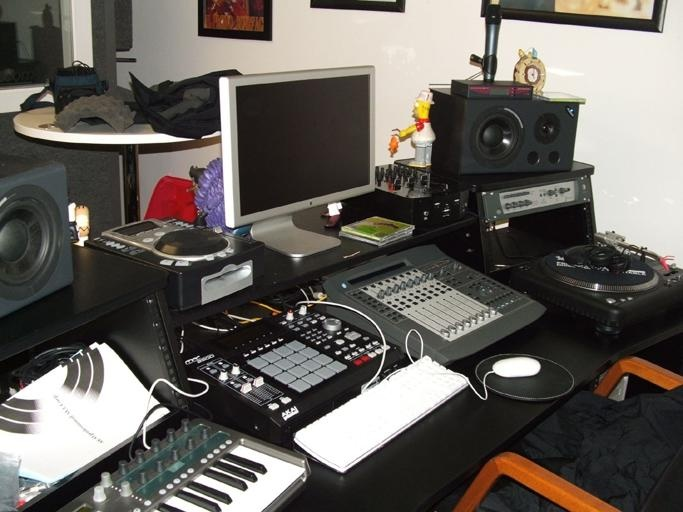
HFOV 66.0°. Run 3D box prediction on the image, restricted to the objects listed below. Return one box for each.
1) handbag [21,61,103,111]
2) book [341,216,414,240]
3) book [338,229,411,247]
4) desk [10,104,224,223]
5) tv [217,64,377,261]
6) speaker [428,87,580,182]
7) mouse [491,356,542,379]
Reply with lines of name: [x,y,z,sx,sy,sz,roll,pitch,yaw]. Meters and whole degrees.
handbag: [-1.349,-0.772,2.494,0.428,0.177,0.320,4,23,32]
book: [0.114,-0.090,1.707,0.118,0.024,0.114,22,32,40]
book: [0.093,-0.056,1.671,0.097,0.012,0.088,-17,26,-39]
desk: [-0.974,-0.412,2.270,0.483,0.505,0.478,14,38,12]
tv: [-0.127,-0.266,1.547,0.188,0.471,0.543,25,33,37]
speaker: [0.597,-0.445,1.995,0.595,0.324,0.346,-4,22,-11]
mouse: [0.460,0.291,1.385,0.100,0.022,0.059,-2,26,6]
